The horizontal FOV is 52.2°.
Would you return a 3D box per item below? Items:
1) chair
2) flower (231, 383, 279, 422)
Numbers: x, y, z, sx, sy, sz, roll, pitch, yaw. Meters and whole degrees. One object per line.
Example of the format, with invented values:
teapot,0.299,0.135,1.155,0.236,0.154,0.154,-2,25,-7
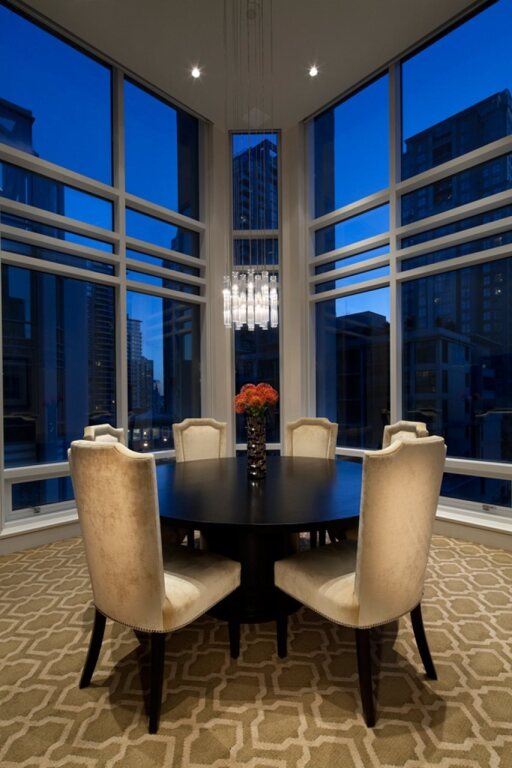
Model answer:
chair,-0.036,0.619,1.998,1.041,0.980,0.996,-2,1,-17
flower,-0.008,0.096,2.779,0.199,0.182,0.227,-1,4,-5
